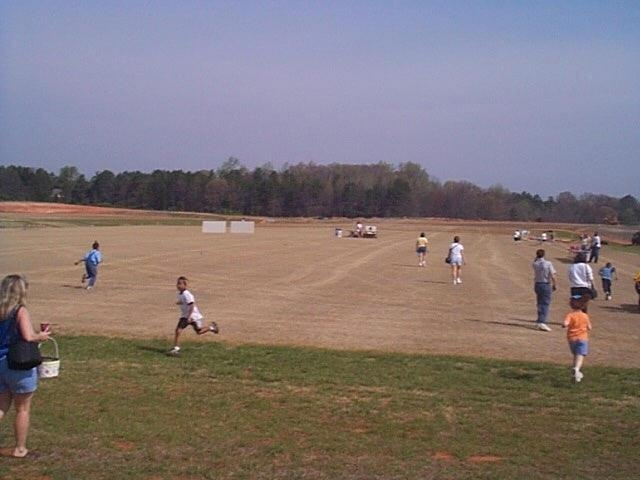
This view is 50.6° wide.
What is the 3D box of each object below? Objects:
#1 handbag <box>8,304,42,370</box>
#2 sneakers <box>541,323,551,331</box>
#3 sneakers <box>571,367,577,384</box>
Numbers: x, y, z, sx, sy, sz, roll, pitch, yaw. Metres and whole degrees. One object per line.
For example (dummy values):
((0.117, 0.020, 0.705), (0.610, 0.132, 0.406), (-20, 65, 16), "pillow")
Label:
((-5.485, 1.856, 12.482), (0.609, 1.129, 0.319), (-2, 12, -12), "handbag")
((6.931, 2.639, 20.607), (0.396, 0.182, 0.169), (4, 1, -27), "sneakers")
((5.927, 3.160, 15.729), (0.096, 0.309, 0.125), (-7, -10, 36), "sneakers")
